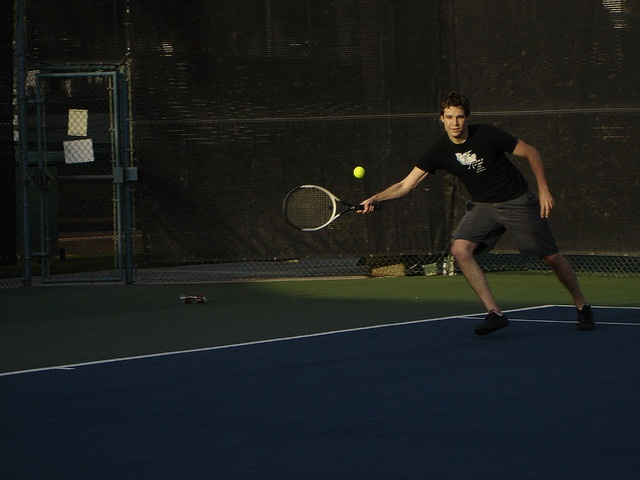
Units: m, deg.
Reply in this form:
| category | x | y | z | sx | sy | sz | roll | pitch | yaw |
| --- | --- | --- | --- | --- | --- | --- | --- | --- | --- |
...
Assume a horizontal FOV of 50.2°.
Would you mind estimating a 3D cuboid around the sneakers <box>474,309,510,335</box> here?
| category | x | y | z | sx | sy | sz | roll | pitch | yaw |
| --- | --- | --- | --- | --- | --- | --- | --- | --- | --- |
| sneakers | 1.255 | 0.608 | 5.013 | 0.350 | 0.124 | 0.125 | -5 | 4 | -44 |
